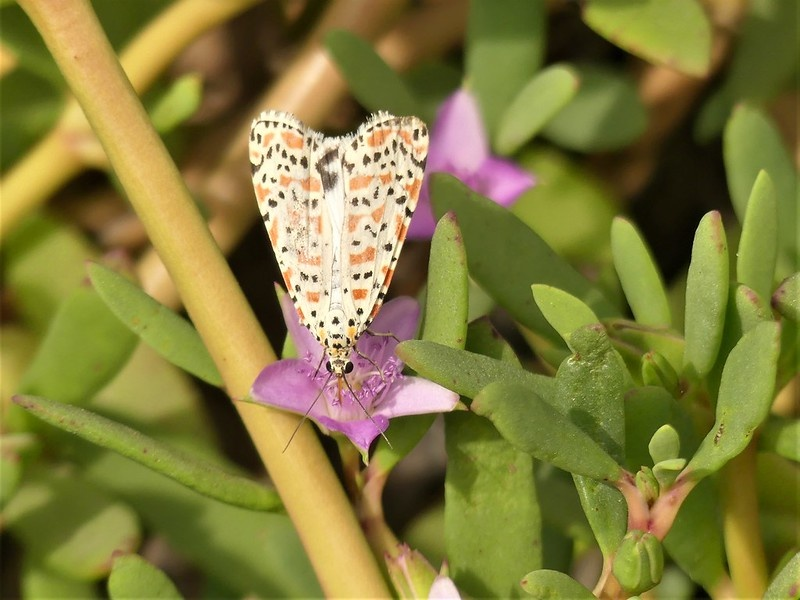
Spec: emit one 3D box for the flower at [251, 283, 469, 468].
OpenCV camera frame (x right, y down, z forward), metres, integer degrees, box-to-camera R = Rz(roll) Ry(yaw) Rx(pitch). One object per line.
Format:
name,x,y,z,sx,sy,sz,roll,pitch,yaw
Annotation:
flower,-0.089,0.072,1.342,0.292,0.101,0.332,-23,54,32

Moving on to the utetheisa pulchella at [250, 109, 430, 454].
utetheisa pulchella,-0.117,-0.056,1.572,0.249,0.110,0.603,1,73,-1
